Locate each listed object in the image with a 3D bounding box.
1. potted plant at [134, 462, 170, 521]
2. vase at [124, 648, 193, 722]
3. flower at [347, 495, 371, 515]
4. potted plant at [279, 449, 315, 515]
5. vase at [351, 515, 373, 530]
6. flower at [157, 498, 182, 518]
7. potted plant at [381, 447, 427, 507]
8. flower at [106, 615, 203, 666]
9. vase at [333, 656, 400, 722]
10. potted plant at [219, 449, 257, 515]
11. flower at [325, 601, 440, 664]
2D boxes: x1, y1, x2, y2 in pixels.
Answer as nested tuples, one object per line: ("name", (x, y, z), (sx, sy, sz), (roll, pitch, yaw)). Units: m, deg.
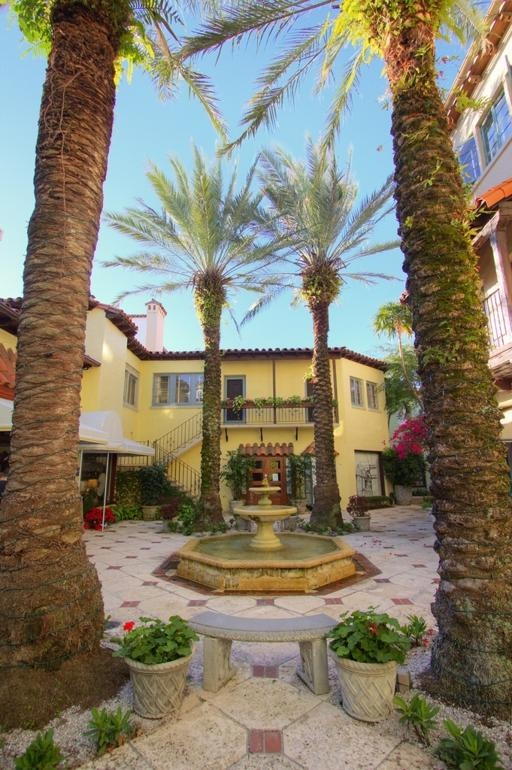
("potted plant", (-3.382, 3.264, 15.425), (1.074, 1.272, 0.825), (1, -8, -9))
("vase", (-0.647, 1.948, 3.100), (0.413, 0.299, 0.408), (-3, -20, 1))
("flower", (2.755, 3.211, 12.590), (0.617, 0.621, 0.633), (-2, -2, -2))
("potted plant", (1.579, 3.388, 16.986), (1.041, 1.849, 0.725), (0, -8, -2))
("vase", (2.670, 3.474, 11.886), (0.416, 0.346, 0.556), (-2, -8, 9))
("flower", (-2.330, 3.295, 12.561), (0.668, 0.460, 0.678), (-3, -3, -2))
("potted plant", (6.292, 3.943, 20.688), (1.670, 2.380, 2.084), (3, -10, -10))
("flower", (-0.645, 1.698, 3.207), (0.467, 0.203, 0.455), (3, 3, 6))
("vase", (0.696, 1.939, 3.032), (0.389, 0.293, 0.373), (-3, -26, 17))
("potted plant", (-0.615, 3.152, 16.782), (1.144, 1.816, 1.634), (2, -8, -19))
("flower", (0.750, 1.605, 3.161), (0.462, 0.156, 0.397), (10, 26, 38))
